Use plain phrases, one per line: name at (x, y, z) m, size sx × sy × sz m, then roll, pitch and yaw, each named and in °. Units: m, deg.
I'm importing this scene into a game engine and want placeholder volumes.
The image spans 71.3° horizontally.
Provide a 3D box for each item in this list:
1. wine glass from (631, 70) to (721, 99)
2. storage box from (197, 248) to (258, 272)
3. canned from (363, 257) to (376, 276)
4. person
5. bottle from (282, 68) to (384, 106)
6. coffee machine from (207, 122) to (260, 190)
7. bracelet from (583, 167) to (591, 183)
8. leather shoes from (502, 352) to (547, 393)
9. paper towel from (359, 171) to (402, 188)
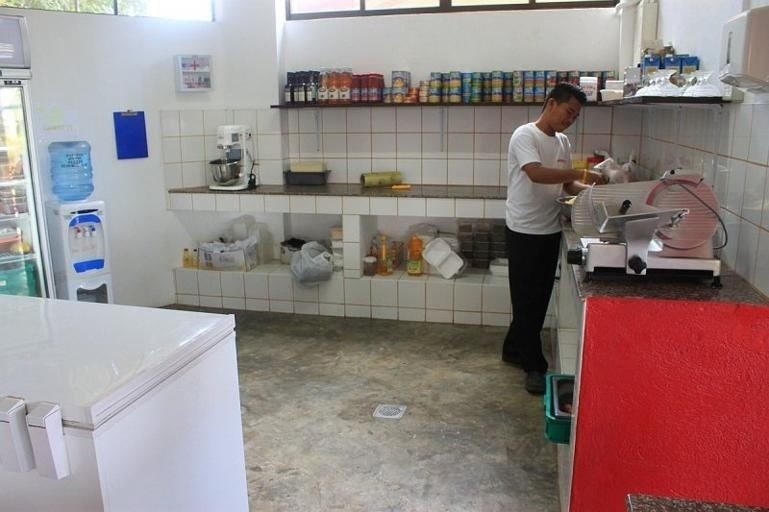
wine glass at (1.556, -0.898, 2.827) m, size 0.389 × 0.170 × 0.453 m, roll 4°, pitch 13°, yaw 24°
storage box at (-1.486, 0.019, 5.134) m, size 0.405 × 0.166 × 0.241 m, roll 1°, pitch 7°, yaw 13°
canned at (-0.130, 0.097, 4.780) m, size 0.149 × 0.184 × 0.150 m, roll 1°, pitch 3°, yaw -5°
person at (1.075, -0.095, 3.576) m, size 0.528 × 2.005 × 0.505 m, roll 1°, pitch 13°, yaw 12°
bottle at (-0.475, -1.567, 4.992) m, size 0.959 × 0.309 × 0.173 m, roll 1°, pitch 12°, yaw 10°
coffee machine at (-1.417, -0.918, 5.042) m, size 0.466 × 0.595 × 0.360 m, roll -6°, pitch 13°, yaw -19°
bracelet at (1.272, -0.494, 3.371) m, size 0.033 × 0.084 × 0.210 m, roll 4°, pitch 13°, yaw 22°
leather shoes at (0.972, 0.840, 3.748) m, size 0.105 × 0.121 × 0.314 m, roll -4°, pitch 5°, yaw -17°
paper towel at (-0.025, -0.716, 5.059) m, size 0.375 × 0.135 × 0.238 m, roll -2°, pitch 12°, yaw -1°
